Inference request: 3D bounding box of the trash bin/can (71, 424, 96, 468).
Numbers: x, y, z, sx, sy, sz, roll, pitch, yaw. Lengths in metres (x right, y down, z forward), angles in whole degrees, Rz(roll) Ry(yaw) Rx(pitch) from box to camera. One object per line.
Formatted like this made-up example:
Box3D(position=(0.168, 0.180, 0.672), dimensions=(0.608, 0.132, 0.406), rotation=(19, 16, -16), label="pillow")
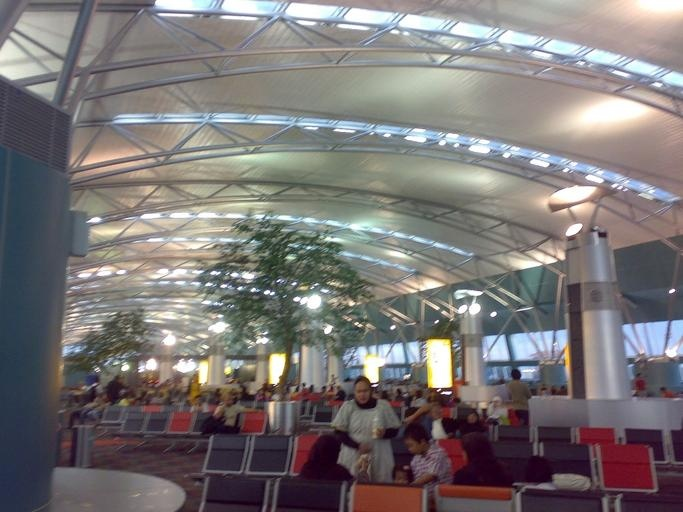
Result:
Box3D(position=(-6.489, 4.803, 12.525), dimensions=(0.500, 0.989, 0.946), rotation=(8, -17, -24), label="trash bin/can")
